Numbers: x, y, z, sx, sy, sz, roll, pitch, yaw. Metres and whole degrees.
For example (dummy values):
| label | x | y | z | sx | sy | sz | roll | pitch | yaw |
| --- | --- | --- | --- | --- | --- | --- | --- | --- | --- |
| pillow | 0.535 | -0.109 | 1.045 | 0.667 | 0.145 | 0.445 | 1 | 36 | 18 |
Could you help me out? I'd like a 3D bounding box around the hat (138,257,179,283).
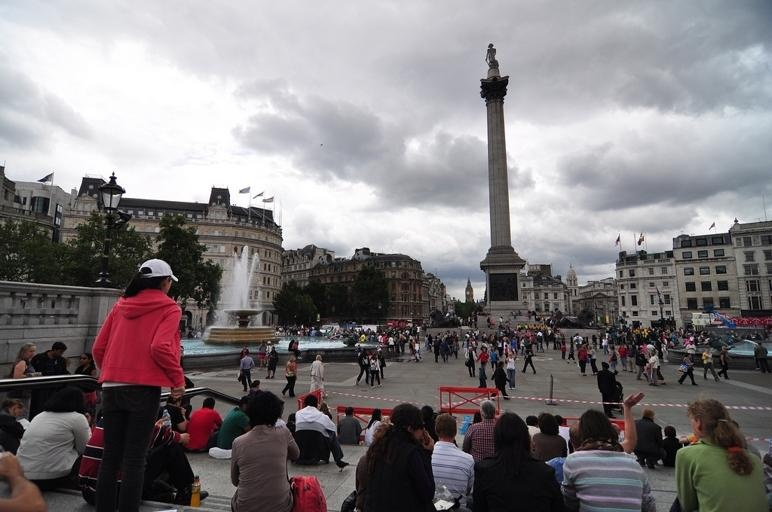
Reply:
| label | x | y | z | sx | sy | sz | roll | pitch | yaw |
| --- | --- | --- | --- | --- | --- | --- | --- | --- | --- |
| hat | -3.878 | 0.221 | 9.331 | 0.448 | 0.345 | 0.613 | 3 | 1 | 26 |
